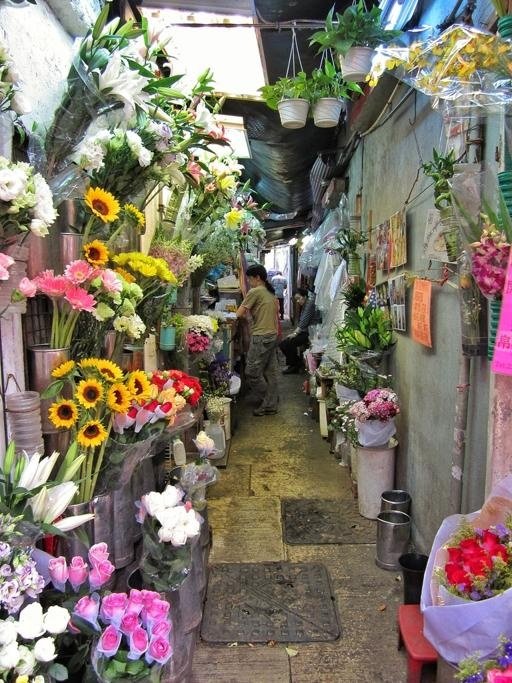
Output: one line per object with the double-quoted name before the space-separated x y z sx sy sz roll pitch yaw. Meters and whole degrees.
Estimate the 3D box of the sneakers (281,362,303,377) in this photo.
"sneakers" 0.752 0.589 9.658 0.525 0.233 0.164 0 3 -26

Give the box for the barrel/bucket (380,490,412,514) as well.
"barrel/bucket" 0.910 1.031 3.143 0.176 0.188 0.173 0 2 0

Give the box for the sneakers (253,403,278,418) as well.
"sneakers" 0.116 0.943 6.566 0.330 0.150 0.129 2 7 -21
